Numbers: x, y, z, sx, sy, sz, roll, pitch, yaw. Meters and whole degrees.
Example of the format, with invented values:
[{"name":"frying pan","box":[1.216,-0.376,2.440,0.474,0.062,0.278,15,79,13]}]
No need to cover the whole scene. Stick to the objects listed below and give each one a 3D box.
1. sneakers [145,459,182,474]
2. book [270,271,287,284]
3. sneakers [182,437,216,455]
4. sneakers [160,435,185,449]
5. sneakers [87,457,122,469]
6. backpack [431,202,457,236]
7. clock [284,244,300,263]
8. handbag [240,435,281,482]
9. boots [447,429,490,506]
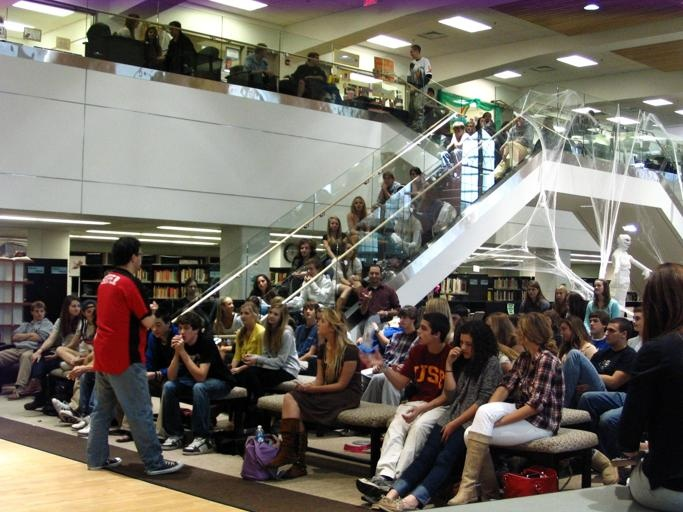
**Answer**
[{"name":"sneakers","box":[-1.472,1.765,4.507,0.305,0.129,0.112,0,-4,-17]},{"name":"book","box":[-1.026,0.327,8.783,0.195,0.264,0.276,1,-5,-2]},{"name":"sneakers","box":[-1.362,1.841,5.255,0.357,0.149,0.119,13,-15,-43]},{"name":"sneakers","box":[-1.676,1.854,5.410,0.094,0.118,0.279,-5,-14,32]},{"name":"sneakers","box":[-2.038,1.777,4.663,0.250,0.098,0.091,-4,7,-45]},{"name":"backpack","box":[1.639,-0.587,8.744,0.210,0.375,0.393,11,-41,27]},{"name":"clock","box":[-0.836,-0.035,9.219,0.318,0.352,0.059,-6,-42,8]},{"name":"handbag","box":[-0.682,1.656,4.522,0.324,0.346,0.324,9,-13,-42]},{"name":"boots","box":[0.943,1.504,3.866,0.240,0.502,0.407,4,-3,31]}]
